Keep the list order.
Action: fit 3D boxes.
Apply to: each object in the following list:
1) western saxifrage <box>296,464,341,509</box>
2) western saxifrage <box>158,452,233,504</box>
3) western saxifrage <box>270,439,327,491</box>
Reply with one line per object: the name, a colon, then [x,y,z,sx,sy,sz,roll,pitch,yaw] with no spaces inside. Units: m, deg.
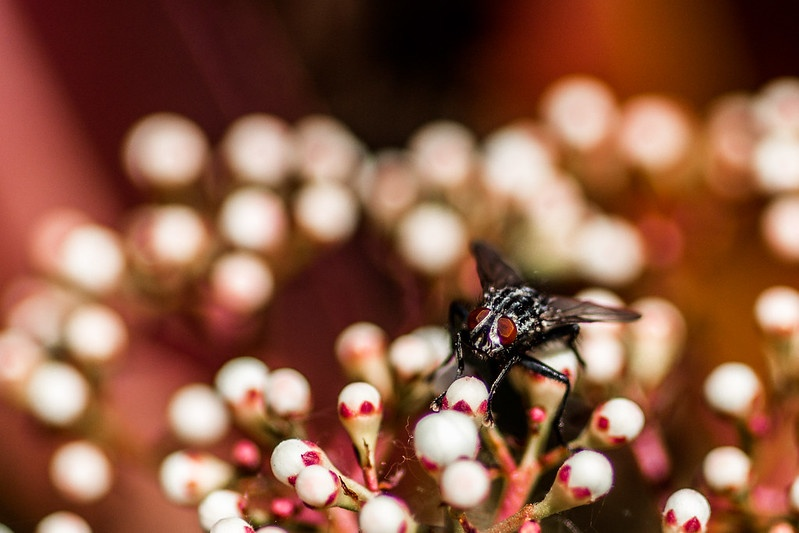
western saxifrage: [-0.139,0.364,1.566,0.056,0.081,0.040,-8,-2,-16]
western saxifrage: [-0.406,0.408,1.779,0.126,0.116,0.103,-2,11,-13]
western saxifrage: [-0.175,0.333,1.591,0.080,0.079,0.050,2,-12,9]
